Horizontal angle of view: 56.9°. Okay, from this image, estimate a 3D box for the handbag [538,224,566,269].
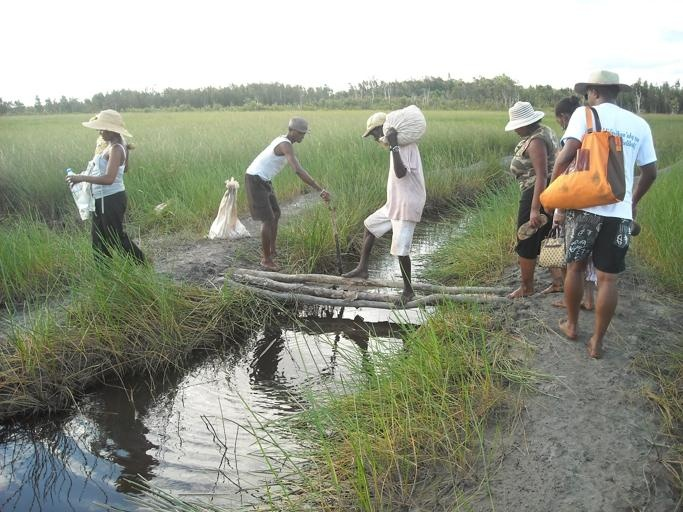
[{"bbox_3d":[2.192,-0.110,6.545,0.125,0.541,0.350,-10,14,-34],"label":"handbag"}]

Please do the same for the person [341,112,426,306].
[{"bbox_3d":[0.620,-0.631,7.681,0.781,2.314,0.835,-5,15,-5],"label":"person"}]

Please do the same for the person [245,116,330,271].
[{"bbox_3d":[-0.758,-0.877,8.801,1.119,2.181,1.028,14,23,22],"label":"person"}]

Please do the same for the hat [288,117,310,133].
[{"bbox_3d":[-0.599,-1.756,8.391,0.193,0.141,0.238,9,8,-36],"label":"hat"}]

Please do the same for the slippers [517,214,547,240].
[{"bbox_3d":[2.062,-0.278,6.991,0.169,0.435,0.162,-1,52,-36],"label":"slippers"}]

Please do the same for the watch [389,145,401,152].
[{"bbox_3d":[0.609,-1.232,7.183,0.108,0.073,0.111,-4,17,3],"label":"watch"}]

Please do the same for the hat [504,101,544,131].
[{"bbox_3d":[2.012,-1.542,6.954,0.389,0.305,0.306,0,17,16],"label":"hat"}]

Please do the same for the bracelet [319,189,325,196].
[{"bbox_3d":[-0.241,-0.838,8.270,0.055,0.094,0.084,-1,16,9],"label":"bracelet"}]

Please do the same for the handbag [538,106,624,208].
[{"bbox_3d":[2.226,-0.915,5.916,0.685,1.070,0.329,-7,-15,44],"label":"handbag"}]

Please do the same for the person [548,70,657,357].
[{"bbox_3d":[2.452,-0.414,6.063,0.819,2.646,0.823,12,14,42],"label":"person"}]
